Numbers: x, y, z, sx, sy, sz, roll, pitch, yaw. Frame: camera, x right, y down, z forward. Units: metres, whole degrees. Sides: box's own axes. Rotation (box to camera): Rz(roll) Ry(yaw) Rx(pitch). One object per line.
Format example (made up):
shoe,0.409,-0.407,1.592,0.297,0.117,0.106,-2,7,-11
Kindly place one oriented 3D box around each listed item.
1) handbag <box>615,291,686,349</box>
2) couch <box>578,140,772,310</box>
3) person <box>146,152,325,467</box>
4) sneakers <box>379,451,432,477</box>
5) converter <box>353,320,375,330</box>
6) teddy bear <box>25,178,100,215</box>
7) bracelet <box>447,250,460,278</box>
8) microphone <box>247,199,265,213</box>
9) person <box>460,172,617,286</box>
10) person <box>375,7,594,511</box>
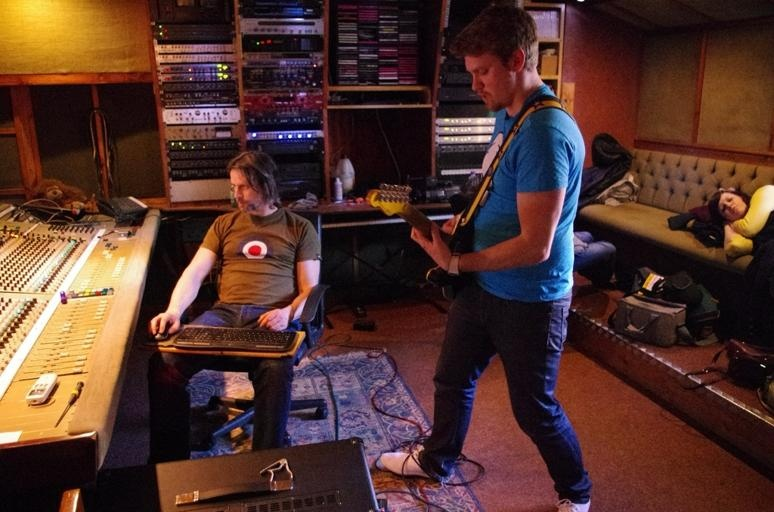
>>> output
handbag,1.885,0.433,3.909,0.404,0.268,0.377,13,9,43
couch,2.459,-0.232,4.626,0.682,0.654,1.432,-14,24,-18
person,-0.859,0.245,3.175,0.844,1.574,1.223,0,18,1
sneakers,0.080,1.148,3.089,0.313,0.115,0.117,8,17,15
converter,-0.198,0.586,4.619,0.124,0.038,0.091,1,12,2
teddy bear,-2.664,-0.483,4.474,0.599,0.185,0.447,19,21,12
bracelet,0.305,0.050,2.505,0.056,0.082,0.086,6,52,6
microphone,-0.817,-0.308,3.383,0.074,0.051,0.078,13,18,39
person,1.342,-0.125,4.879,1.254,1.008,1.212,-5,21,-19
person,0.582,0.115,2.589,0.925,2.428,0.378,9,21,27
